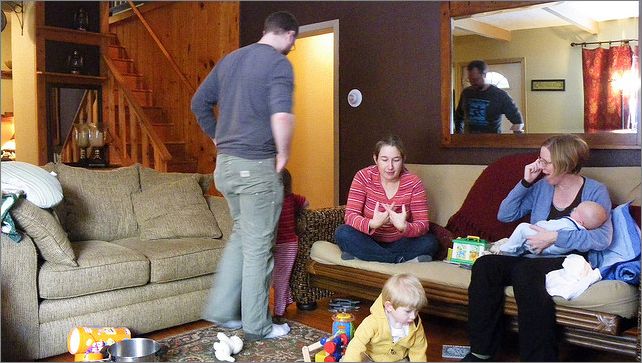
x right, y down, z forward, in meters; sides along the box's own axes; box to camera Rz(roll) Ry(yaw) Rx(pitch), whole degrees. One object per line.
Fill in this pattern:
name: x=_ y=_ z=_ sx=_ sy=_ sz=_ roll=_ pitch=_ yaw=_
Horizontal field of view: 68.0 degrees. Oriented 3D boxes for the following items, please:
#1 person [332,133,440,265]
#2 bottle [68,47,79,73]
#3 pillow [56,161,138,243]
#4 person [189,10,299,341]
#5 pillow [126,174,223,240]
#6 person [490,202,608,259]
person: x=0.538 y=0.153 z=3.956 sx=0.920 sy=0.958 sz=0.768 roll=0 pitch=15 yaw=0
bottle: x=-3.252 y=-1.597 z=6.230 sx=0.204 sy=0.247 sz=0.107 roll=5 pitch=0 yaw=-34
pillow: x=-1.996 y=0.203 z=4.213 sx=0.795 sy=0.630 sz=0.362 roll=-1 pitch=-1 yaw=-35
person: x=-0.547 y=-0.031 z=3.643 sx=0.772 sy=2.514 sz=0.486 roll=-2 pitch=10 yaw=-4
pillow: x=-1.308 y=0.216 z=4.215 sx=0.634 sy=0.605 sz=0.186 roll=-11 pitch=-33 yaw=-13
person: x=1.682 y=0.357 z=3.512 sx=0.827 sy=0.274 sz=0.380 roll=-14 pitch=11 yaw=10
